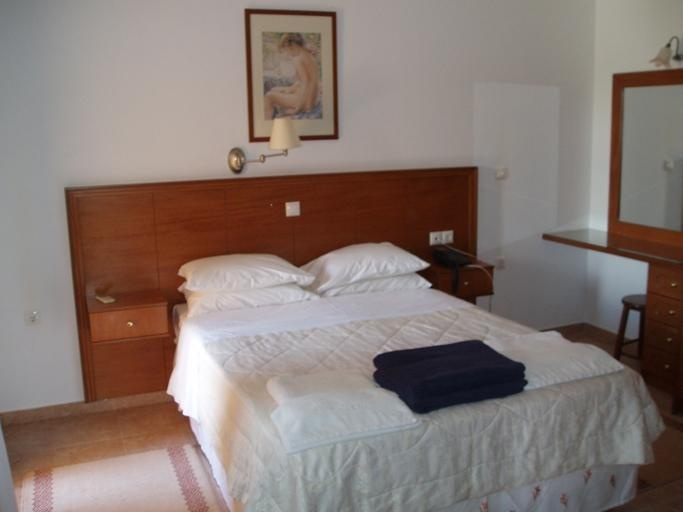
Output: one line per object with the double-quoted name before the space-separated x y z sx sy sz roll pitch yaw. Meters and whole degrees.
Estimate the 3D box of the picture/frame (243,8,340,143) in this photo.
"picture/frame" -0.395 -1.373 3.749 0.938 1.307 0.047 -5 16 -19

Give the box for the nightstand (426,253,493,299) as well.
"nightstand" 0.919 0.109 4.132 0.499 0.495 0.368 -5 10 -28

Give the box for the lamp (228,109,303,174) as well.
"lamp" -0.556 -0.801 3.726 0.541 0.354 0.252 -4 10 19

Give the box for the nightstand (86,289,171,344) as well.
"nightstand" -1.424 0.406 3.412 0.490 0.285 0.316 -11 13 -21

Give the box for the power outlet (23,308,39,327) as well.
"power outlet" -2.080 0.409 3.394 0.107 0.114 0.026 -6 10 -32

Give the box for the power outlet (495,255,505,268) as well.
"power outlet" 1.401 0.051 4.486 0.084 0.123 0.064 -4 18 -20
